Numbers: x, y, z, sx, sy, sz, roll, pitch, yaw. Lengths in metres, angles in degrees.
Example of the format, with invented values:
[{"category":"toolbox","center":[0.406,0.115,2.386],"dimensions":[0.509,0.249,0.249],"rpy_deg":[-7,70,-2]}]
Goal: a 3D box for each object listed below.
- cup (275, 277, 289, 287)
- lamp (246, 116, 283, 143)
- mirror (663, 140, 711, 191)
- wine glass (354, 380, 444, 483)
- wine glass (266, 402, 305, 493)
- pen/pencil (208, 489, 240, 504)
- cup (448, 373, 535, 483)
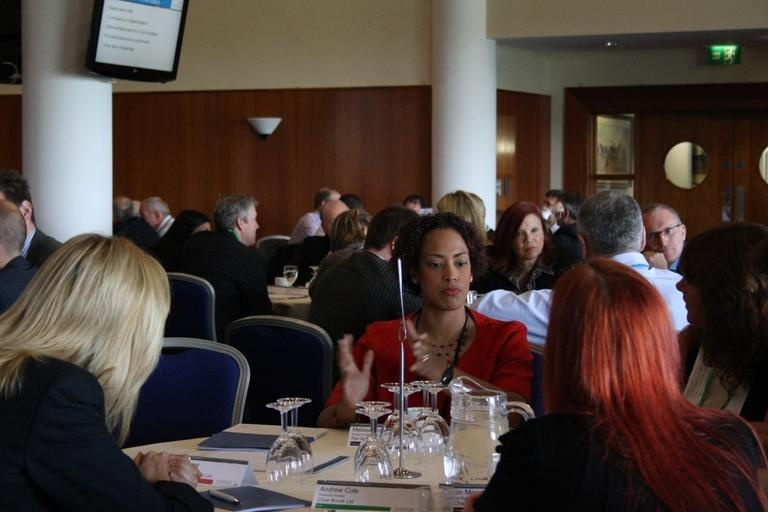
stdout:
[{"category":"cup","center":[-0.956,0.244,5.738],"dimensions":[0.087,0.081,0.091],"rpy_deg":[0,-5,0]},{"category":"lamp","center":[-1.753,-1.840,9.088],"dimensions":[0.338,0.229,0.343],"rpy_deg":[-1,-1,2]},{"category":"mirror","center":[4.626,-1.384,9.293],"dimensions":[0.644,0.825,0.078],"rpy_deg":[4,-3,11]},{"category":"wine glass","center":[0.055,0.522,1.835],"dimensions":[0.143,0.302,0.440],"rpy_deg":[-1,-5,22]},{"category":"wine glass","center":[-0.288,0.536,1.792],"dimensions":[0.113,0.212,0.149],"rpy_deg":[1,2,-22]},{"category":"pen/pencil","center":[-0.424,0.641,1.629],"dimensions":[0.080,0.021,0.020],"rpy_deg":[10,18,37]},{"category":"cup","center":[0.240,0.433,1.564],"dimensions":[0.259,0.299,0.178],"rpy_deg":[4,1,10]}]
